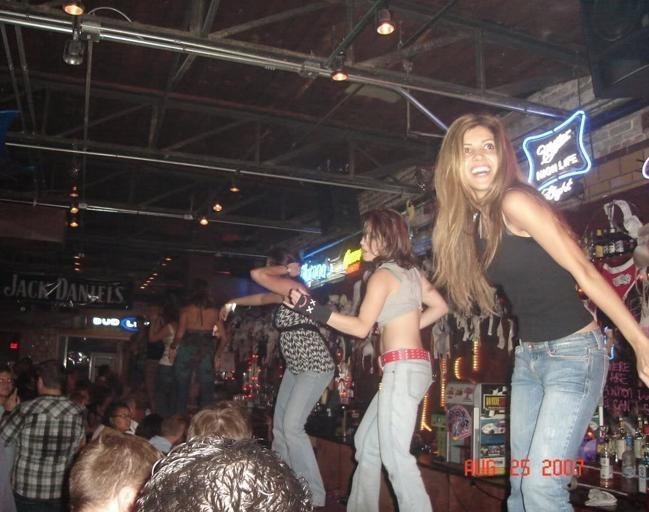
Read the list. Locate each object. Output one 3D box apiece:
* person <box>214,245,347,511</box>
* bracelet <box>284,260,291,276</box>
[{"bbox_3d":[-0.417,1.193,6.470,1.294,2.979,0.981,10,-40,-12],"label":"person"},{"bbox_3d":[-0.356,0.136,5.675,0.042,0.103,0.118,0,-37,-7],"label":"bracelet"}]
